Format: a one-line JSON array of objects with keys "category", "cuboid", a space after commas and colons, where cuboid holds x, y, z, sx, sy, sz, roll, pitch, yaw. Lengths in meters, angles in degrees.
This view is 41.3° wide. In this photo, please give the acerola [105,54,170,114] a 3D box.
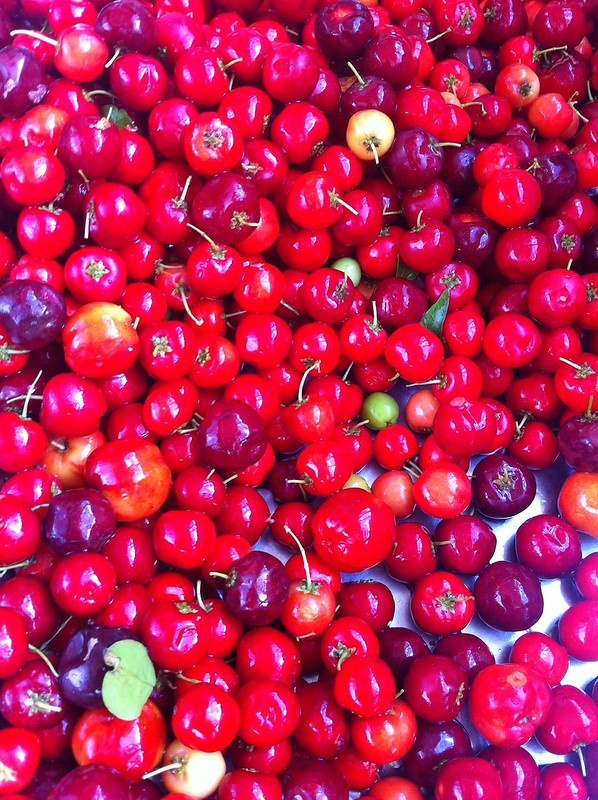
[{"category": "acerola", "cuboid": [-0.384, -0.758, 1.894, 0.127, 0.106, 0.110, -5, 84, -1]}]

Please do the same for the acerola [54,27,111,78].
[{"category": "acerola", "cuboid": [-0.517, -0.811, 1.875, 0.122, 0.135, 0.138, -2, 106, -32]}]
